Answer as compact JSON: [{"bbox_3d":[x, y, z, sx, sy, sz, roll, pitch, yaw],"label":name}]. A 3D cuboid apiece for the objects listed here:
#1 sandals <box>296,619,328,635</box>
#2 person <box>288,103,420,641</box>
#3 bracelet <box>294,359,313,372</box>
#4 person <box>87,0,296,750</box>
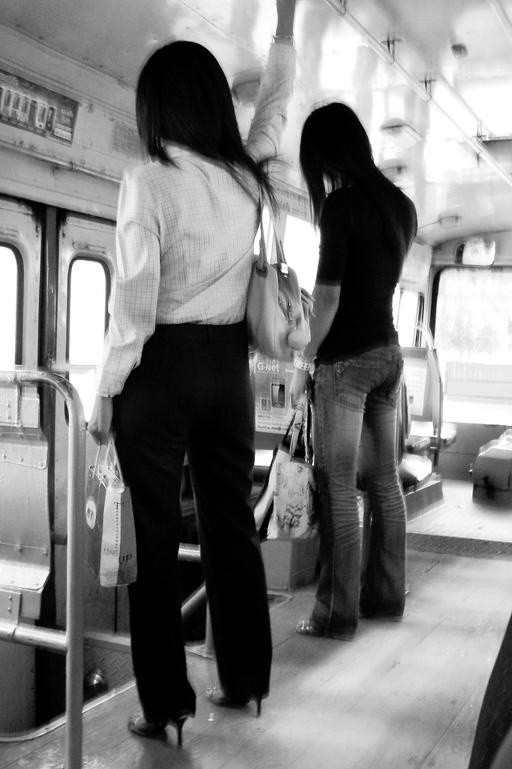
[{"bbox_3d":[0.226,0.971,2.465,0.122,0.073,0.054,9,-11,30],"label":"sandals"},{"bbox_3d":[0.395,-0.001,2.413,0.427,2.017,0.622,-2,-3,43],"label":"person"},{"bbox_3d":[0.183,-0.072,2.341,0.050,0.036,0.050,26,-3,18],"label":"bracelet"},{"bbox_3d":[-0.156,0.068,1.542,0.292,1.733,0.545,-1,-3,39],"label":"person"}]
